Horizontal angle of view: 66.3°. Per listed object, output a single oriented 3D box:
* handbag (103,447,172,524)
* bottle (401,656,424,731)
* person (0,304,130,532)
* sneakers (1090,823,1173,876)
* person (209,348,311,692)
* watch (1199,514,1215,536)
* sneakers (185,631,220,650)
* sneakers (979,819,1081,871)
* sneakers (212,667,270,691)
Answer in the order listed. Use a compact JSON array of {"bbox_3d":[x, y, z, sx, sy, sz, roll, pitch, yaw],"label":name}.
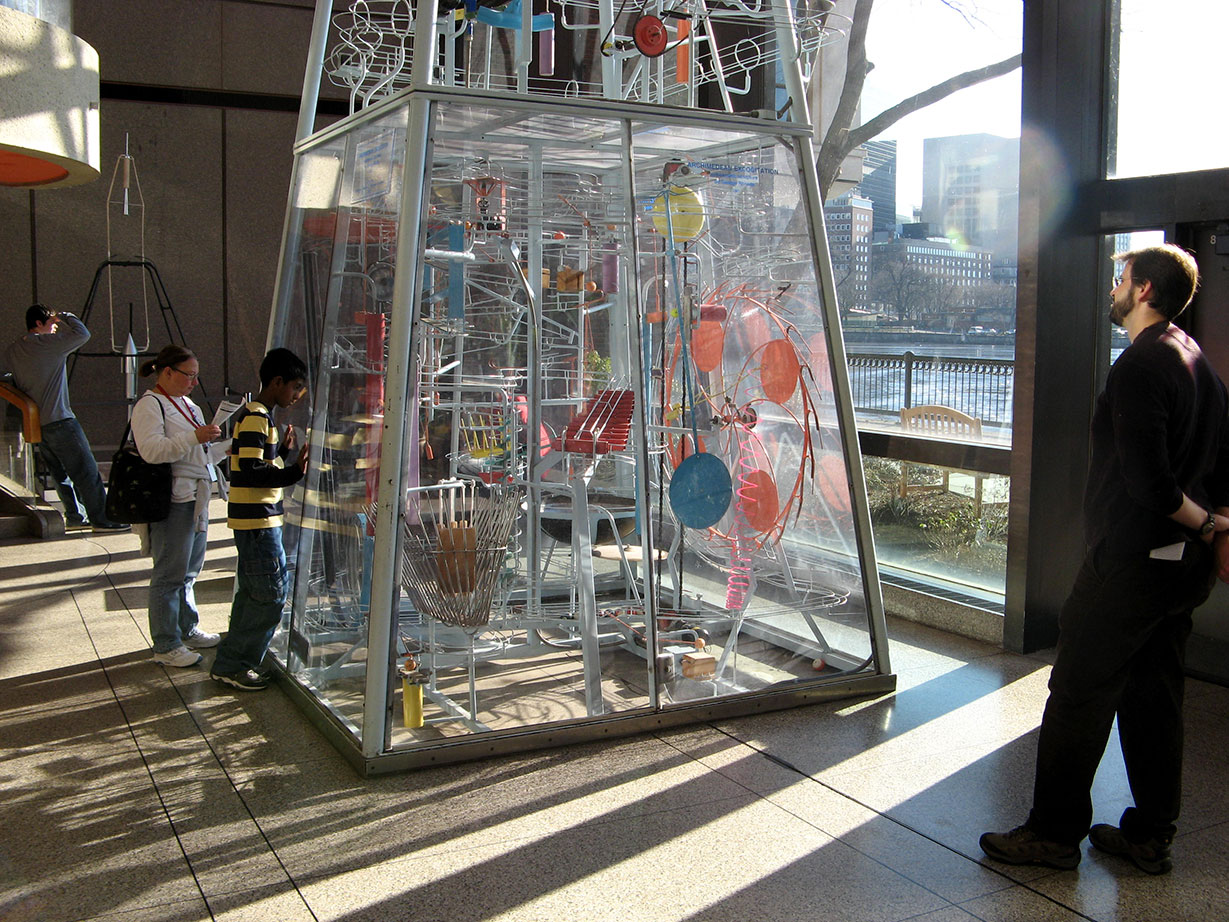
[{"bbox_3d":[-2.280,0.123,4.510,0.268,0.378,0.177,0,9,1],"label":"handbag"},{"bbox_3d":[-0.795,0.910,3.703,0.075,0.272,0.087,1,9,6],"label":"bottle"},{"bbox_3d":[-4.610,-0.347,7.780,0.635,1.843,0.666,-6,10,-32],"label":"person"},{"bbox_3d":[1.684,1.257,3.099,0.093,0.105,0.249,-5,14,-25],"label":"sneakers"},{"bbox_3d":[-1.679,0.268,4.450,0.499,1.582,0.441,-4,9,-24],"label":"person"},{"bbox_3d":[1.823,0.197,2.891,0.024,0.062,0.045,15,-8,-31],"label":"watch"},{"bbox_3d":[-2.190,0.957,5.014,0.195,0.081,0.070,-1,12,-16],"label":"sneakers"},{"bbox_3d":[1.354,1.253,3.103,0.317,0.139,0.125,3,2,18],"label":"sneakers"},{"bbox_3d":[-1.794,1.037,4.493,0.267,0.126,0.102,0,7,-2],"label":"sneakers"}]
